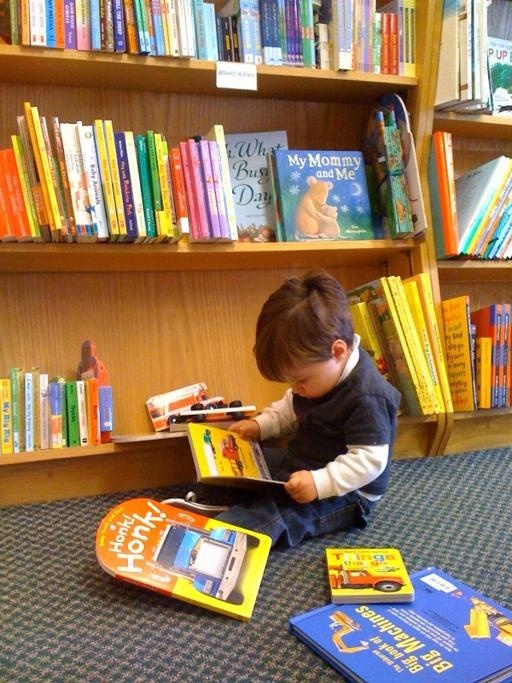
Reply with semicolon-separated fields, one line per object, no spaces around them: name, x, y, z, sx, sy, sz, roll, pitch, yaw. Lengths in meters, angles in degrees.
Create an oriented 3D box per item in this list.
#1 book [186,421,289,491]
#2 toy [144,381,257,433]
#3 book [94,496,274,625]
book;-0.046;0.215;1.031;0.045;0.134;0.153;-44;-31;17
toy;-0.152;0.151;1.274;0.188;0.078;0.127;-6;-8;-8
book;-0.107;0.297;0.765;0.196;0.024;0.133;14;26;-5
